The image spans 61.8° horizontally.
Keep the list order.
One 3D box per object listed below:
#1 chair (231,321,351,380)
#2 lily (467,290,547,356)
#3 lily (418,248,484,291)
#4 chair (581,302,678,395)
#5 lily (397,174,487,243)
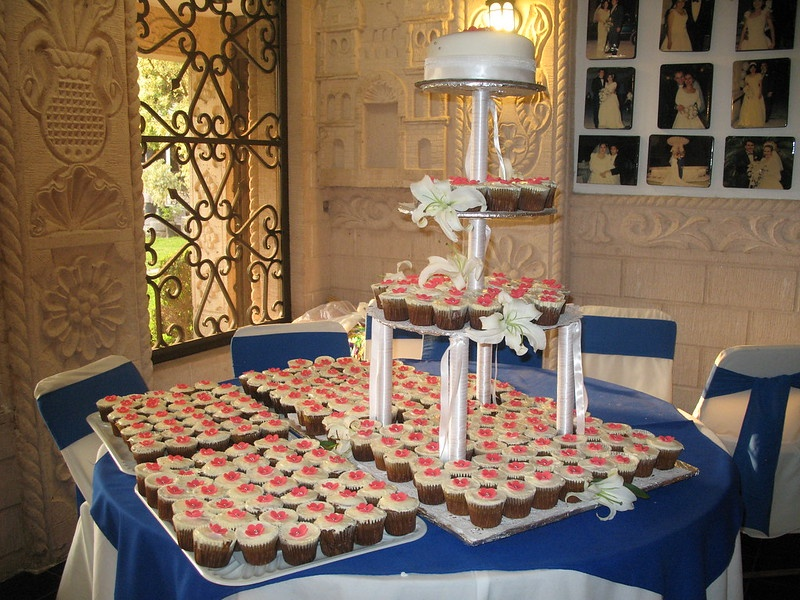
[{"bbox_3d":[-0.718,0.284,4.210,0.557,0.565,0.382,0,-5,-22],"label":"chair"},{"bbox_3d":[0.404,0.102,2.515,0.238,0.250,0.145,2,-8,-2],"label":"lily"},{"bbox_3d":[0.214,-0.094,2.646,0.182,0.088,0.184,-6,29,-9],"label":"lily"},{"bbox_3d":[1.467,0.280,4.464,0.532,0.733,0.574,5,2,20],"label":"chair"},{"bbox_3d":[0.183,-0.317,2.608,0.261,0.273,0.102,-4,-9,7],"label":"lily"}]
